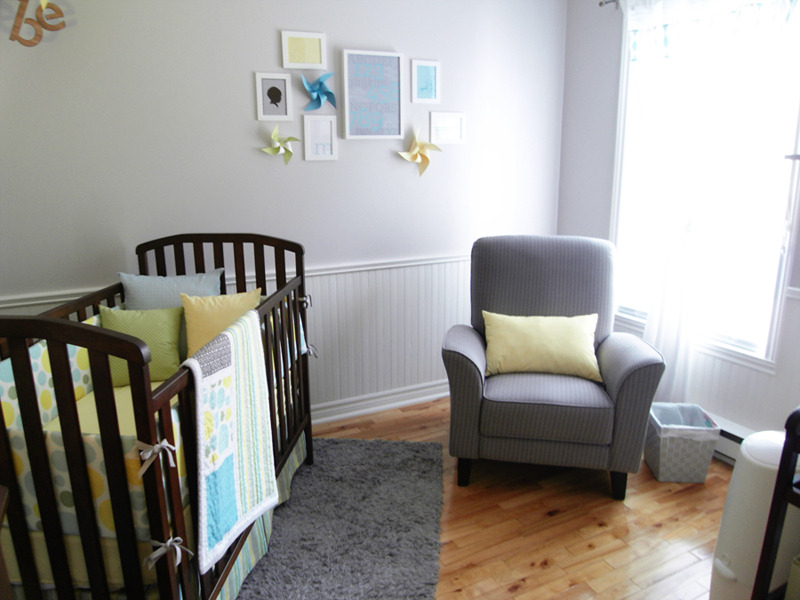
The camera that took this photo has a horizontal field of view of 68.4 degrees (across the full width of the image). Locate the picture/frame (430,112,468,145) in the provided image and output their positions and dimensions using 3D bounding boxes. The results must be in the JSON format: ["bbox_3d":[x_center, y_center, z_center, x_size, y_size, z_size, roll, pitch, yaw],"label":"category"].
[{"bbox_3d":[0.300,-1.084,3.731,0.261,0.200,0.055,-9,18,-33],"label":"picture/frame"}]

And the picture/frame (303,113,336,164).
[{"bbox_3d":[-0.478,-0.954,3.425,0.246,0.327,0.025,-6,10,-31],"label":"picture/frame"}]

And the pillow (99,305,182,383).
[{"bbox_3d":[-1.065,0.182,2.405,0.265,0.310,0.116,-11,-15,-15],"label":"pillow"}]

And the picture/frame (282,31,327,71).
[{"bbox_3d":[-0.541,-1.404,3.314,0.253,0.192,0.029,-6,16,-23],"label":"picture/frame"}]

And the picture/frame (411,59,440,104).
[{"bbox_3d":[0.148,-1.350,3.609,0.236,0.305,0.021,-5,10,-35],"label":"picture/frame"}]

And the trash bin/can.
[{"bbox_3d":[1.449,0.752,3.184,0.337,0.436,0.420,1,1,7],"label":"trash bin/can"}]

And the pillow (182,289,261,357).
[{"bbox_3d":[-0.793,0.109,2.586,0.256,0.272,0.099,-5,-9,-13],"label":"pillow"}]

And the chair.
[{"bbox_3d":[0.761,0.316,3.144,1.035,1.214,0.722,3,15,7],"label":"chair"}]

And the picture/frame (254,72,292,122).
[{"bbox_3d":[-0.723,-1.149,3.294,0.241,0.321,0.023,-3,10,-27],"label":"picture/frame"}]

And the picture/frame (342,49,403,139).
[{"bbox_3d":[-0.178,-1.242,3.489,0.443,0.596,0.041,-7,17,-23],"label":"picture/frame"}]
